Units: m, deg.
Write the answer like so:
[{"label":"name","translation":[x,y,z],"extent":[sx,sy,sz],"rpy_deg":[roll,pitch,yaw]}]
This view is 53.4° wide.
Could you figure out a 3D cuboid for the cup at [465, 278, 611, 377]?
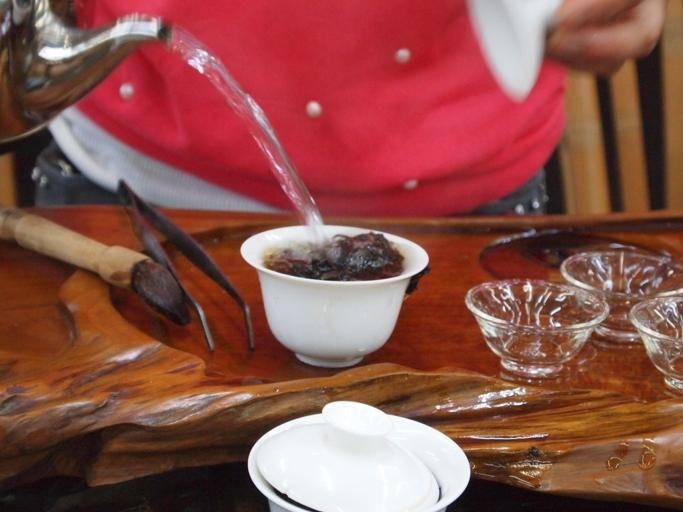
[{"label":"cup","translation":[0.213,0.073,0.784],"extent":[0.145,0.052,0.133],"rpy_deg":[2,17,-1]}]

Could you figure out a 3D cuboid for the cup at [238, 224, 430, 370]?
[{"label":"cup","translation":[0.012,0.049,0.803],"extent":[0.203,0.097,0.192],"rpy_deg":[5,19,-2]}]
